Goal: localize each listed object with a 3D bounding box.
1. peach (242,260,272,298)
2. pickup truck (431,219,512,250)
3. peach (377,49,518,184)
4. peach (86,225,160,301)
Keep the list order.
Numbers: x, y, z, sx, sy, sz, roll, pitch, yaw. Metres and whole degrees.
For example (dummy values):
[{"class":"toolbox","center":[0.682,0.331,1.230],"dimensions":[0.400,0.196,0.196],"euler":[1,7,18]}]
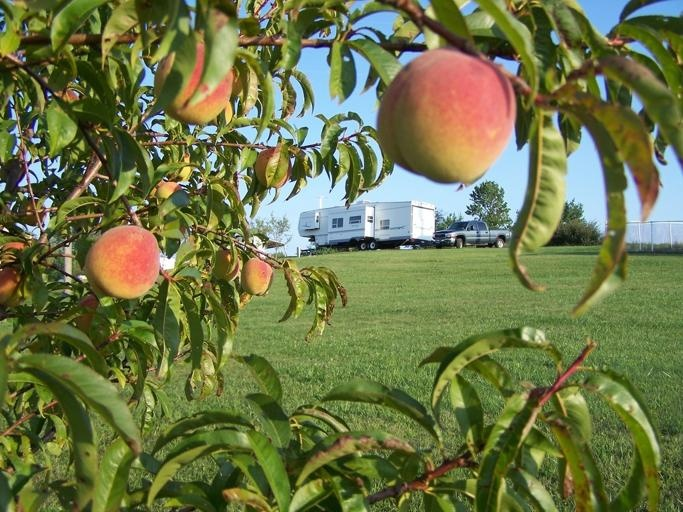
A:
[{"class":"peach","center":[-0.560,0.146,3.450],"dimensions":[0.181,0.282,0.321],"euler":[3,6,-5]},{"class":"pickup truck","center":[7.524,-1.186,30.220],"dimensions":[4.321,1.670,1.187],"euler":[2,6,-15]},{"class":"peach","center":[0.210,-0.281,1.059],"dimensions":[0.267,0.258,0.103],"euler":[3,5,-1]},{"class":"peach","center":[-0.799,0.028,1.928],"dimensions":[0.264,0.275,0.190],"euler":[0,6,-30]}]
